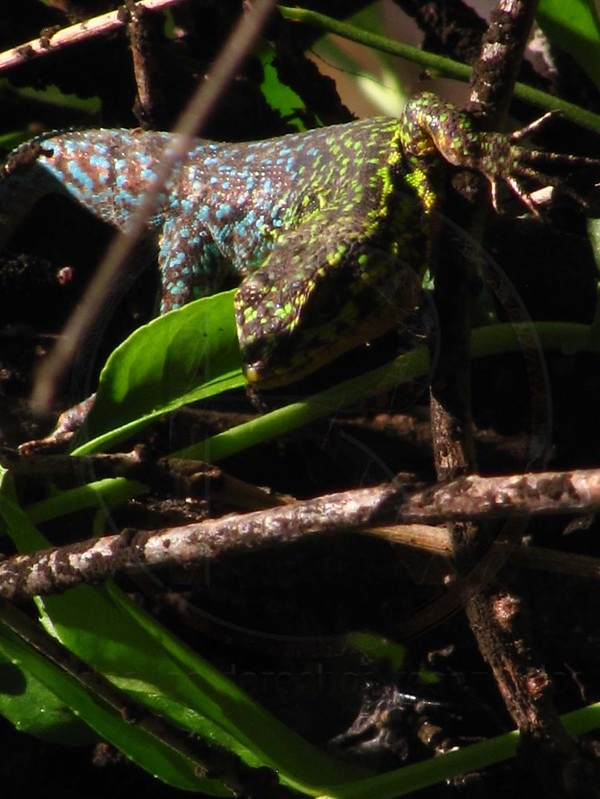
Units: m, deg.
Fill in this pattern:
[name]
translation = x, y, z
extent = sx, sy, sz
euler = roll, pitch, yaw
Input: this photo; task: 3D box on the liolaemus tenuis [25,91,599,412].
[liolaemus tenuis]
translation = 0.001, -0.363, 1.768
extent = 0.662, 0.248, 0.841
euler = -43, 64, -1
